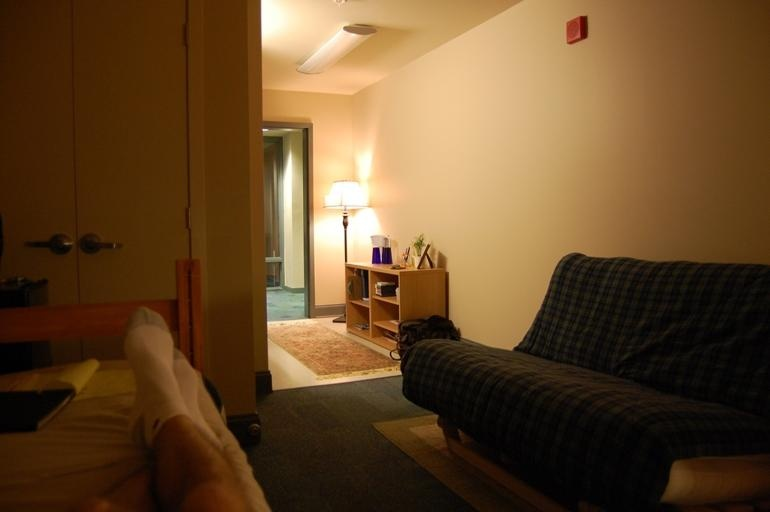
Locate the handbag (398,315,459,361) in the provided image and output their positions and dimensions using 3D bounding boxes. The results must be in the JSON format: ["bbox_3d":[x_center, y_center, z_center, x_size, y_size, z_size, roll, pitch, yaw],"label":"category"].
[{"bbox_3d":[0.380,0.728,4.876,0.421,0.161,0.343,-2,6,-29],"label":"handbag"}]

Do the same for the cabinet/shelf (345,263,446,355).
[{"bbox_3d":[0.017,0.495,5.626,0.446,0.752,1.306,-2,2,-25],"label":"cabinet/shelf"}]
